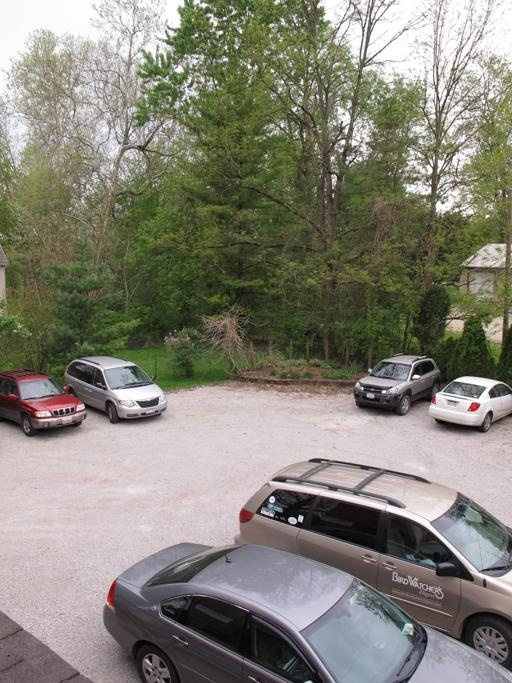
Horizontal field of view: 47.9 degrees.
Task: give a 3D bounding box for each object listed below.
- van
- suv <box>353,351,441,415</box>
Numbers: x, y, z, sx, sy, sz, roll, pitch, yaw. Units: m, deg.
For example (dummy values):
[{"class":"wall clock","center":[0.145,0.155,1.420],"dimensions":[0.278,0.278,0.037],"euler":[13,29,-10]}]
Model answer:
[{"class":"van","center":[-3.973,1.210,16.500],"dimensions":[1.569,1.235,2.963],"euler":[-6,14,-42]},{"class":"suv","center":[4.238,1.275,17.424],"dimensions":[1.443,1.116,2.674],"euler":[2,6,36]}]
